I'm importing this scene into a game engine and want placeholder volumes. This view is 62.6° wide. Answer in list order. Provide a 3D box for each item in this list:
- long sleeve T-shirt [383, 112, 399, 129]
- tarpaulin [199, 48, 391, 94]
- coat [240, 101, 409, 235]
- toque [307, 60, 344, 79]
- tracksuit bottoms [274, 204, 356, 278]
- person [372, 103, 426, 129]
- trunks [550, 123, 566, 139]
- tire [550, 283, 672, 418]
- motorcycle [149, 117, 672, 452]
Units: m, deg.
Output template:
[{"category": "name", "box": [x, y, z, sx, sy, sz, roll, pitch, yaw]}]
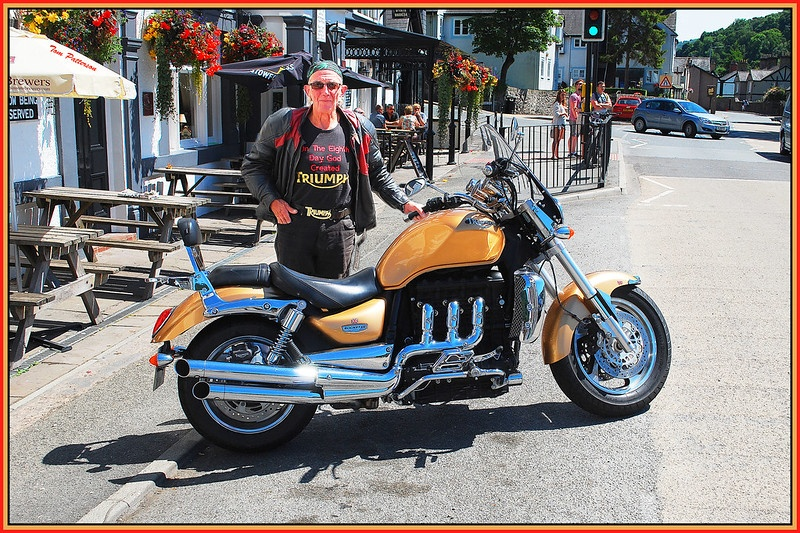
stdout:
[{"category": "long sleeve T-shirt", "box": [-0.237, -5.009, 22.628, 0.786, 0.328, 0.781, -1, 19, 2]}, {"category": "tarpaulin", "box": [-2.276, -3.751, 13.328, 2.451, 0.600, 2.431, 3, 10, 8]}, {"category": "coat", "box": [-0.759, -0.882, 5.863, 1.906, 1.399, 0.924, 1, 10, -13]}, {"category": "toque", "box": [-0.621, -1.645, 5.452, 0.244, 0.135, 0.210, 1, 13, 8]}, {"category": "tracksuit bottoms", "box": [-0.673, -0.241, 5.843, 0.708, 0.953, 0.522, 2, 7, -11]}, {"category": "person", "box": [0.038, -4.952, 22.198, 1.829, 1.006, 0.943, -3, 21, 3]}, {"category": "trunks", "box": [3.720, -3.171, 15.438, 0.361, 0.330, 0.358, -6, 4, -6]}, {"category": "tire", "box": [1.706, 0.693, 5.377, 0.857, 0.856, 0.197, -21, -2, -11]}, {"category": "motorcycle", "box": [0.264, 0.184, 5.159, 4.127, 2.298, 1.251, -3, 6, -14]}]
